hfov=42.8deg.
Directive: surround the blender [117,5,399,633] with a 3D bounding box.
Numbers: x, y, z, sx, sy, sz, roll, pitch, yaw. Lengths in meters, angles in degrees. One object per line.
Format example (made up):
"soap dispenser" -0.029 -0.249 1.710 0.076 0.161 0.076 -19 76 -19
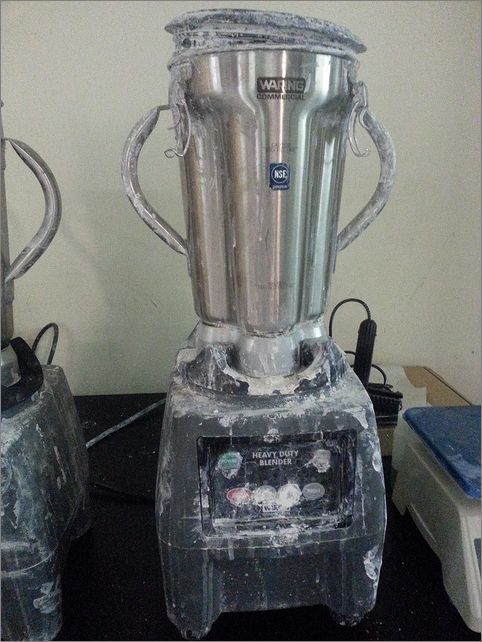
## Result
"blender" 0.039 0.031 0.689 0.304 0.657 0.268 -7 32 -6
